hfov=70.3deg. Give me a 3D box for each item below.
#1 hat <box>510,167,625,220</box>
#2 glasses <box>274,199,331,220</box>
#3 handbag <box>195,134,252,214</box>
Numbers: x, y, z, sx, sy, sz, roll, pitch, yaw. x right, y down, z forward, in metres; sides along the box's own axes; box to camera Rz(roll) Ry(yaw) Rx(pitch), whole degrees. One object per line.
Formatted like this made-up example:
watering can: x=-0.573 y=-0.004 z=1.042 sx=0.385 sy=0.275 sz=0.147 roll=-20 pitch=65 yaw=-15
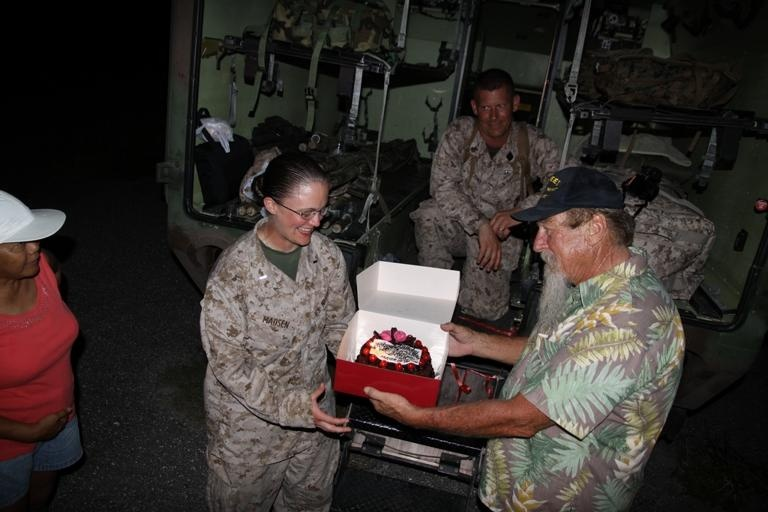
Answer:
hat: x=1.131 y=-0.383 z=3.309 sx=0.502 sy=0.257 sz=0.325 roll=3 pitch=7 yaw=12
glasses: x=-0.502 y=-0.293 z=3.434 sx=0.345 sy=0.108 sz=0.139 roll=-5 pitch=26 yaw=-26
handbag: x=-1.541 y=-0.783 z=5.242 sx=0.211 sy=0.576 sz=0.615 roll=8 pitch=28 yaw=30
